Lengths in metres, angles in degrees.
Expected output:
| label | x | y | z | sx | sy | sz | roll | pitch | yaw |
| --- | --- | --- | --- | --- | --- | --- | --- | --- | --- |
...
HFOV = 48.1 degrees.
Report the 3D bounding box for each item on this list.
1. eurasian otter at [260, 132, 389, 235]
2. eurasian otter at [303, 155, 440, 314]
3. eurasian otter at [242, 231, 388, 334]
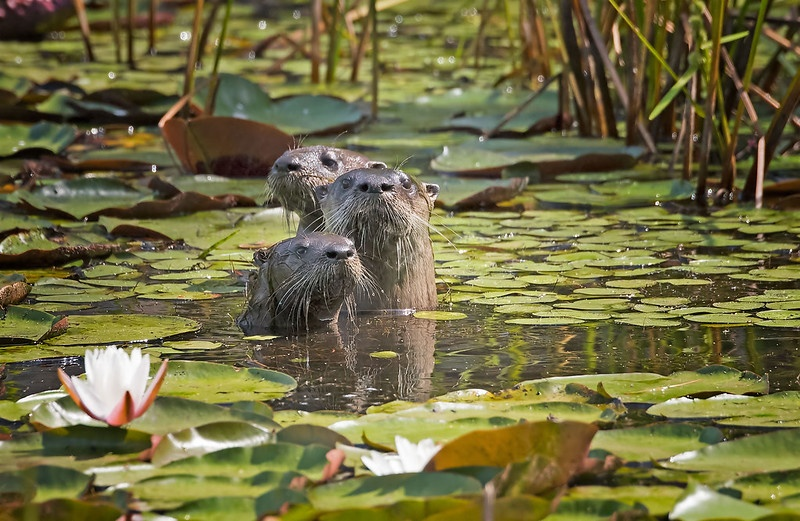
| label | x | y | z | sx | sy | sz | roll | pitch | yaw |
| --- | --- | --- | --- | --- | --- | --- | --- | --- | --- |
| eurasian otter | -0.531 | -0.461 | 5.281 | 0.537 | 0.353 | 0.815 | -9 | -3 | 38 |
| eurasian otter | -0.035 | -0.122 | 4.814 | 0.576 | 0.608 | 0.903 | -4 | -33 | 1 |
| eurasian otter | -0.493 | 0.111 | 4.655 | 0.672 | 0.522 | 0.497 | 1 | -1 | -5 |
